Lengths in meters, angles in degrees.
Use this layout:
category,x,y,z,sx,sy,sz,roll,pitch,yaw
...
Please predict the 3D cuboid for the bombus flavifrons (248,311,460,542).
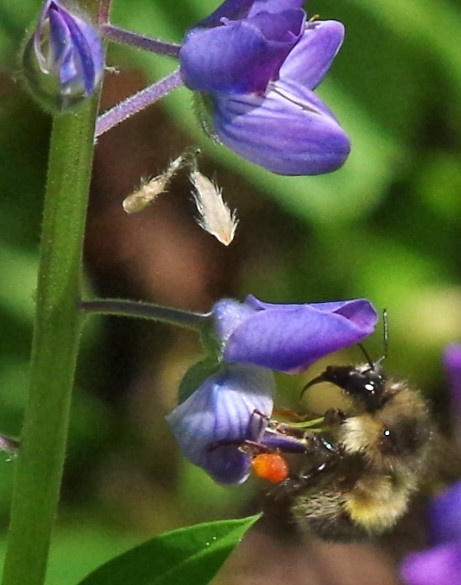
category,x,y,z,sx,sy,sz,roll,pitch,yaw
bombus flavifrons,0.188,0.230,1.112,0.226,0.392,0.249,4,48,-8
